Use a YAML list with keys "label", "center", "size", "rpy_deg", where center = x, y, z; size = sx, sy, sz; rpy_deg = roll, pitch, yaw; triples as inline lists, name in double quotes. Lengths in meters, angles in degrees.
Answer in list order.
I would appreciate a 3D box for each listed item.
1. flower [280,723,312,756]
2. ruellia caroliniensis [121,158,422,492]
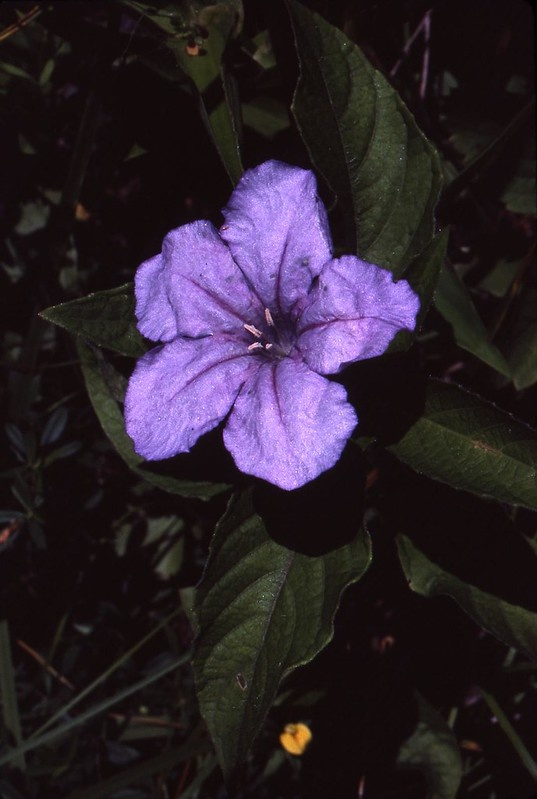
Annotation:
- label: "flower"
  center: [0.058, 0.736, 1.622]
  size: [0.061, 0.063, 0.064]
  rpy_deg: [26, 64, 15]
- label: "ruellia caroliniensis"
  center: [-0.029, -0.066, 1.052]
  size: [0.390, 0.278, 0.416]
  rpy_deg: [-23, 62, -12]
